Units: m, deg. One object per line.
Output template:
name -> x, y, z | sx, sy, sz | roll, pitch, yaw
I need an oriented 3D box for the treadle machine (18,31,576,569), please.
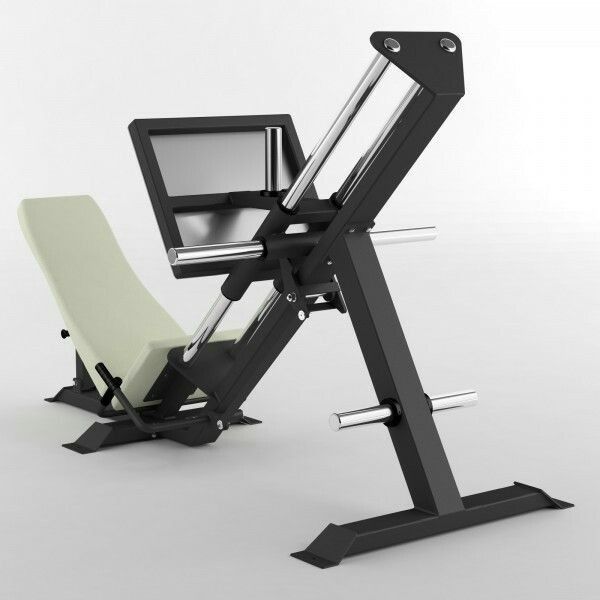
treadle machine -> -0.271, -0.057, 2.420 | 0.855, 1.400, 1.956 | -7, 9, -38
